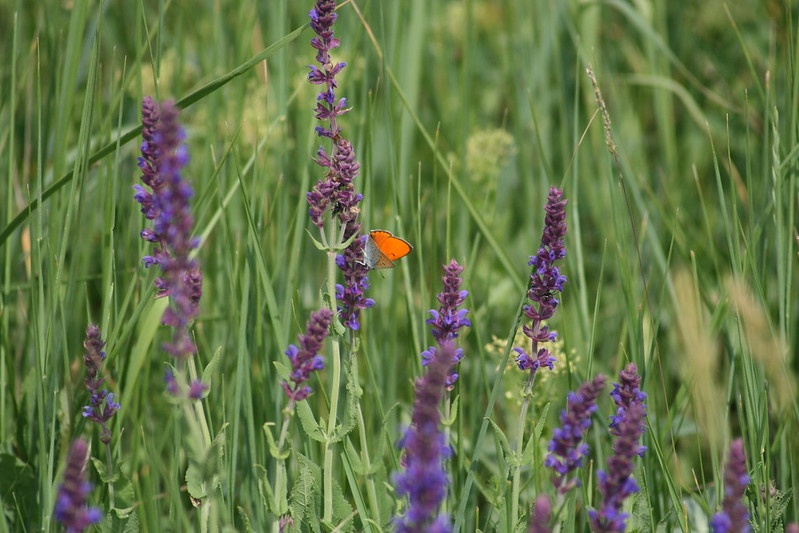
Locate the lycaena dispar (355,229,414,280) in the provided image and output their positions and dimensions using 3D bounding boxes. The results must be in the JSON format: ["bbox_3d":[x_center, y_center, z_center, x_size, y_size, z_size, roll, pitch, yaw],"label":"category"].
[{"bbox_3d":[-0.080,-0.062,6.315,0.189,0.230,0.162,-7,13,39],"label":"lycaena dispar"}]
